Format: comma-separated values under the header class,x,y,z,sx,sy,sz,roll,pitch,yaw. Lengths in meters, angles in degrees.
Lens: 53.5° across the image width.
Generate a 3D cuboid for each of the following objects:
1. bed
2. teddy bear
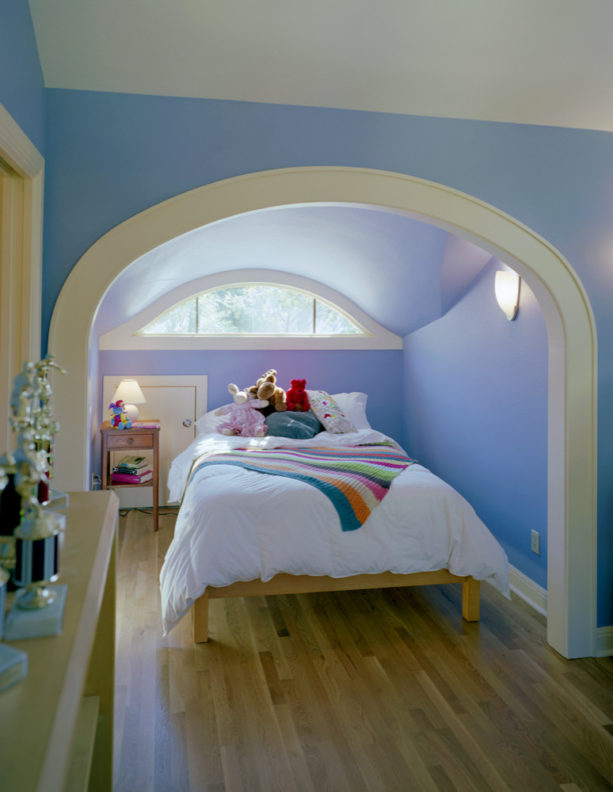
class,x,y,z,sx,sy,sz,roll,pitch,yaw
bed,0.034,0.638,3.156,1.510,0.704,1.421,0,4,-12
teddy bear,-0.262,0.001,4.094,0.370,0.253,0.504,-8,14,1
